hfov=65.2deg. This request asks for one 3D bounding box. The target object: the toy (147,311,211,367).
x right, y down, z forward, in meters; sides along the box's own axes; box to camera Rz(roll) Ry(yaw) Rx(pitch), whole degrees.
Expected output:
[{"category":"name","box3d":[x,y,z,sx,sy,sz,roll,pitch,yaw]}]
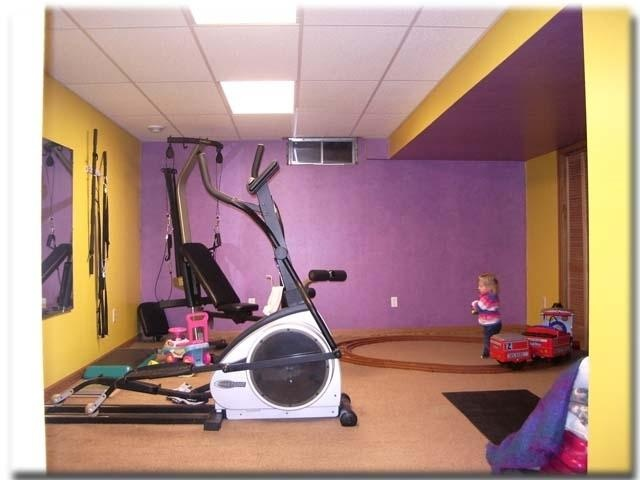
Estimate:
[{"category":"toy","box3d":[-1.213,0.936,4.749,0.674,0.682,0.442,1,-6,-2]}]

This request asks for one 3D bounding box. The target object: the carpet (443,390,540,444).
[{"category":"carpet","box3d":[1.222,1.272,3.513,0.493,0.003,0.766,-8,-48,27]}]

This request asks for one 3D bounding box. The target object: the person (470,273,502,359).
[{"category":"person","box3d":[1.576,0.733,4.766,0.244,0.803,0.487,1,4,18]}]
